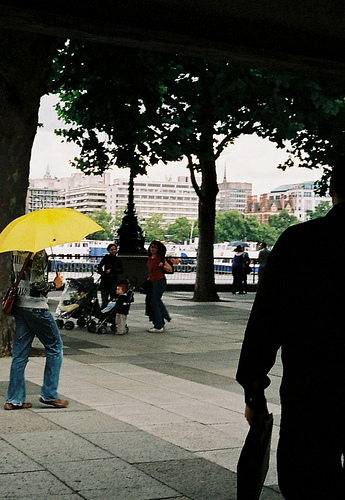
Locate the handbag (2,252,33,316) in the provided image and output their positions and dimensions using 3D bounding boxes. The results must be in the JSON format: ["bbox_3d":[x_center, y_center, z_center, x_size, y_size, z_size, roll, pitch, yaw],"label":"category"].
[{"bbox_3d":[-1.577,0.339,5.954,0.181,0.637,0.341,3,0,24],"label":"handbag"}]

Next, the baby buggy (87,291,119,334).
[{"bbox_3d":[-1.496,1.453,13.135,0.994,1.020,0.706,2,-2,-8],"label":"baby buggy"}]

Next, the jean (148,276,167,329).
[{"bbox_3d":[-0.326,1.154,12.768,0.284,1.143,0.526,3,0,1],"label":"jean"}]

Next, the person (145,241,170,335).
[{"bbox_3d":[-0.318,0.826,13.189,0.528,2.034,1.473,3,0,-1],"label":"person"}]

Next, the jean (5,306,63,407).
[{"bbox_3d":[-1.372,1.069,5.898,0.519,1.012,0.232,3,0,-14],"label":"jean"}]

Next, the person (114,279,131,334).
[{"bbox_3d":[-1.085,1.225,12.703,0.332,1.168,0.773,3,0,-5],"label":"person"}]

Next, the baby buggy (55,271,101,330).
[{"bbox_3d":[-1.961,1.068,13.138,1.093,1.260,0.933,-6,4,-26],"label":"baby buggy"}]

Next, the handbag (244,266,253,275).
[{"bbox_3d":[3.270,0.876,25.878,0.287,0.349,1.196,3,1,9],"label":"handbag"}]

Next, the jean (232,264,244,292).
[{"bbox_3d":[2.777,1.251,25.635,0.481,1.229,1.290,3,0,6],"label":"jean"}]
